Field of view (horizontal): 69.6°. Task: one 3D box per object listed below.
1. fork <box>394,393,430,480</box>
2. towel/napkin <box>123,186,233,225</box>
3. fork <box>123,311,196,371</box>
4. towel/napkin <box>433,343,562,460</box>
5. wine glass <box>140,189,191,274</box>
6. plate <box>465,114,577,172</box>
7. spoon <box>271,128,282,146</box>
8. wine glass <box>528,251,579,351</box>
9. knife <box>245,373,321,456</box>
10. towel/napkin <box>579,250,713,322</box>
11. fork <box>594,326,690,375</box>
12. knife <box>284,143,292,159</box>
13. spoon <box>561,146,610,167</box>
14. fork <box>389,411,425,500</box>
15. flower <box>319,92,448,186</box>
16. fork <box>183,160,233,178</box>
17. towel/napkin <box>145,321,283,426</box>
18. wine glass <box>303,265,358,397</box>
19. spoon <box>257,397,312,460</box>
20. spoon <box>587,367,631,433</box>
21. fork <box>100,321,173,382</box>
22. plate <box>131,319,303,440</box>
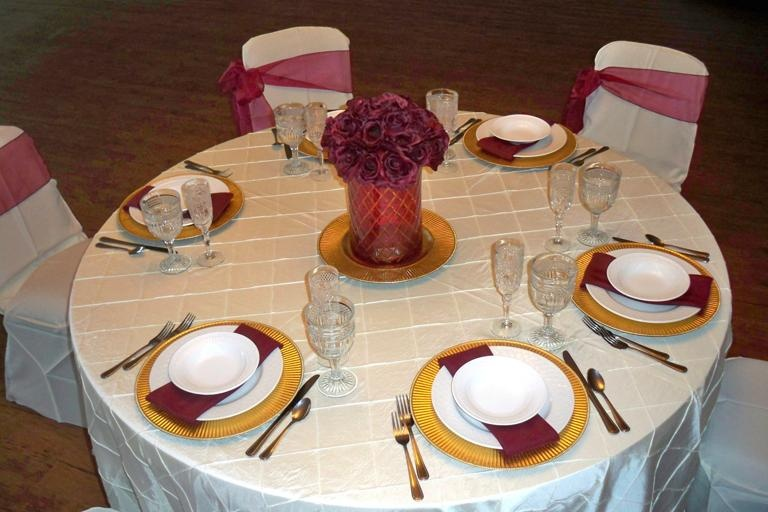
[{"bbox_3d":[0.075,0.485,1.489,0.042,0.034,0.292,-2,55,-13],"label":"fork"},{"bbox_3d":[-0.743,-0.198,2.133,0.232,0.032,0.236,23,37,26],"label":"towel/napkin"},{"bbox_3d":[-0.703,0.274,1.718,0.244,0.029,0.029,-32,49,-17],"label":"fork"},{"bbox_3d":[0.321,0.386,1.521,0.252,0.078,0.340,-15,58,-8],"label":"towel/napkin"},{"bbox_3d":[-0.788,-0.073,1.972,0.136,0.269,0.136,23,47,10],"label":"wine glass"},{"bbox_3d":[0.628,-0.437,2.368,0.305,0.036,0.307,-11,39,-9],"label":"plate"},{"bbox_3d":[-0.499,-0.543,2.559,0.042,0.022,0.128,-11,49,-1],"label":"spoon"},{"bbox_3d":[0.518,0.150,1.680,0.139,0.250,0.140,-31,50,-23],"label":"wine glass"},{"bbox_3d":[-0.287,0.451,1.534,0.038,0.021,0.268,36,57,11],"label":"knife"},{"bbox_3d":[0.818,0.116,1.711,0.264,0.040,0.267,7,44,15],"label":"towel/napkin"},{"bbox_3d":[0.784,0.290,1.652,0.203,0.030,0.028,29,60,17],"label":"fork"},{"bbox_3d":[-0.432,-0.464,2.485,0.025,0.010,0.092,-22,56,14],"label":"knife"},{"bbox_3d":[0.864,-0.416,2.330,0.280,0.013,0.075,-24,59,-27],"label":"spoon"},{"bbox_3d":[0.061,0.524,1.460,0.040,0.032,0.274,-6,50,-8],"label":"fork"},{"bbox_3d":[0.010,-0.365,1.768,0.332,0.137,0.308,-18,66,-11],"label":"flower"},{"bbox_3d":[-0.769,-0.366,2.387,0.189,0.030,0.033,22,67,16],"label":"fork"},{"bbox_3d":[-0.487,0.289,1.555,0.190,0.054,0.357,24,41,23],"label":"towel/napkin"},{"bbox_3d":[-0.162,0.240,1.636,0.138,0.345,0.163,-14,44,-15],"label":"wine glass"},{"bbox_3d":[-0.257,0.466,1.572,0.056,0.037,0.259,24,59,25],"label":"spoon"},{"bbox_3d":[0.625,0.398,1.551,0.043,0.031,0.214,-8,47,-8],"label":"spoon"},{"bbox_3d":[-0.767,0.304,1.701,0.222,0.034,0.031,-37,47,-23],"label":"fork"},{"bbox_3d":[-0.403,0.380,1.540,0.332,0.047,0.341,32,50,29],"label":"plate"}]
